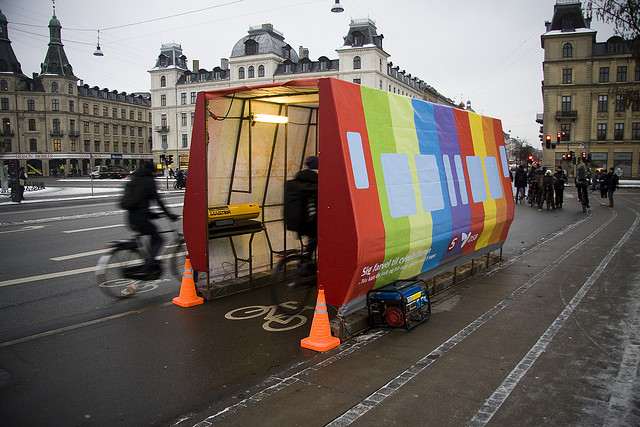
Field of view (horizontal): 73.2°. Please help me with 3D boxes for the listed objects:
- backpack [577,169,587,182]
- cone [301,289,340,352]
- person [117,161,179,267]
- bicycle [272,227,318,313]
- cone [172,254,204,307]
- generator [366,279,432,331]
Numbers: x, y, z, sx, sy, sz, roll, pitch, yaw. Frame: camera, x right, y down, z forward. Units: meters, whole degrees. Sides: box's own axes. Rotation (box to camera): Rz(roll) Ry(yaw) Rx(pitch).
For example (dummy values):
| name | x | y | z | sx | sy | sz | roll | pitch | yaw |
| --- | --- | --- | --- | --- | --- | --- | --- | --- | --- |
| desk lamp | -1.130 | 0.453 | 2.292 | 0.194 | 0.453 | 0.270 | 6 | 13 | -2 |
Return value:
| name | x | y | z | sx | sy | sz | roll | pitch | yaw |
| --- | --- | --- | --- | --- | --- | --- | --- | --- | --- |
| backpack | 12.974 | -1.823 | 21.321 | 0.364 | 0.565 | 0.672 | 6 | 13 | 27 |
| cone | 0.004 | 1.627 | 6.651 | 0.543 | 0.830 | 0.423 | 6 | 13 | 28 |
| person | -3.512 | 0.061 | 8.724 | 0.970 | 2.195 | 0.902 | -6 | 13 | -25 |
| bicycle | -0.466 | 1.025 | 7.959 | 0.818 | 1.572 | 0.751 | -1 | 12 | -4 |
| cone | -2.512 | 1.287 | 8.300 | 0.597 | 0.864 | 0.658 | -2 | 3 | -33 |
| generator | 1.398 | 1.564 | 7.497 | 0.746 | 0.711 | 1.046 | -8 | -1 | 33 |
